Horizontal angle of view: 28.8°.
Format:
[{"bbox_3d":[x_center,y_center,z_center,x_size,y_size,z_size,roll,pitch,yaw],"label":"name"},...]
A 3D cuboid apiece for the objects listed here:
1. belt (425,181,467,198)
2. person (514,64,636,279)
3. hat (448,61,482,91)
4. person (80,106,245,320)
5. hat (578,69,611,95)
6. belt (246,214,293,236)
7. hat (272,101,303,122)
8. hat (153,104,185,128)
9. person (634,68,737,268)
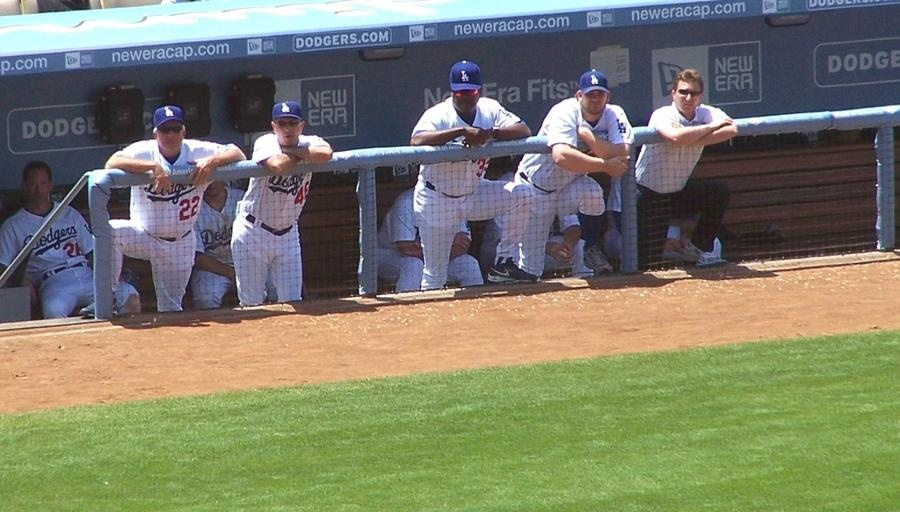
[{"bbox_3d":[-0.039,-0.632,16.319,0.454,0.026,0.060,15,25,19],"label":"belt"},{"bbox_3d":[1.153,-0.751,16.366,1.127,1.937,0.613,-3,5,2],"label":"person"},{"bbox_3d":[0.144,-1.701,16.298,0.317,0.181,0.361,-1,26,-3],"label":"hat"},{"bbox_3d":[-2.547,-0.431,16.066,1.149,1.880,0.521,-4,5,-7],"label":"person"},{"bbox_3d":[1.355,-1.623,16.289,0.286,0.159,0.311,5,18,-11],"label":"hat"},{"bbox_3d":[-1.667,-0.305,16.157,0.290,0.061,0.256,24,6,31],"label":"belt"},{"bbox_3d":[-1.474,-1.335,16.080,0.255,0.109,0.273,0,-2,3],"label":"hat"},{"bbox_3d":[-2.555,-1.279,16.013,0.241,0.185,0.311,-2,4,-3],"label":"hat"},{"bbox_3d":[2.361,-0.841,16.692,0.839,1.871,0.893,0,6,34],"label":"person"}]
